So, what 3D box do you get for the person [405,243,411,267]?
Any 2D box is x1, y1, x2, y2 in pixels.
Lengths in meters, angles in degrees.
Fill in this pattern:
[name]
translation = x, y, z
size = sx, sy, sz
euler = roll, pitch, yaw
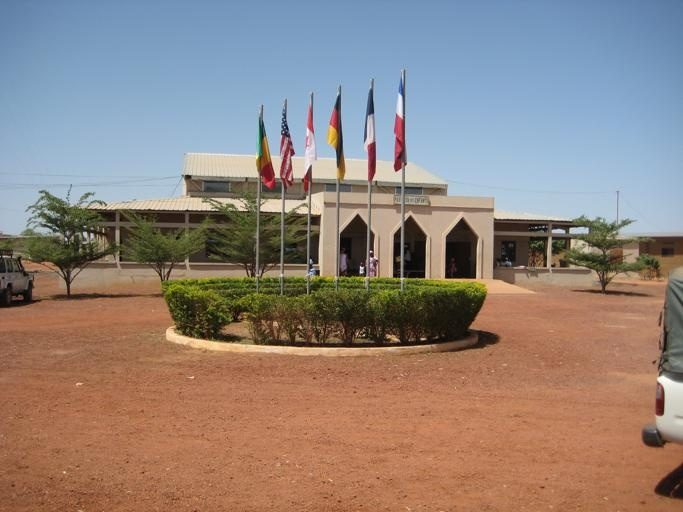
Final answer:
[person]
translation = 4.225, 0.033, 37.497
size = 0.421, 1.356, 2.005
euler = 1, 5, 8
